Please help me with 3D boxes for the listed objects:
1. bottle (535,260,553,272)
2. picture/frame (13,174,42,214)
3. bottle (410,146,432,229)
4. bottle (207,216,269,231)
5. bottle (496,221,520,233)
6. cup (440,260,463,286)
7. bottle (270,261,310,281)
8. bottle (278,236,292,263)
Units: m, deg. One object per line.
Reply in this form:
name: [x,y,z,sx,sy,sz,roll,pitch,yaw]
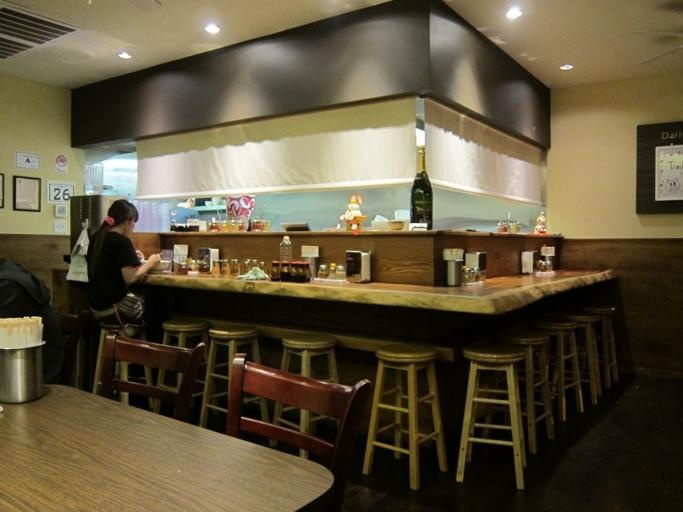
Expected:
bottle: [1.907,0.088,4.635,0.115,0.075,0.120,0,6,0]
picture/frame: [-3.754,-0.757,5.891,0.307,0.406,0.016,3,3,-5]
bottle: [0.601,-0.520,3.721,0.144,0.616,0.135,0,4,0]
bottle: [-0.924,-0.291,4.571,0.737,0.114,0.410,3,5,33]
bottle: [1.619,-0.285,4.819,0.199,0.129,0.203,0,4,0]
cup: [0.746,0.111,3.308,0.150,0.182,0.150,1,-3,0]
bottle: [-0.386,0.110,3.663,0.346,0.144,0.157,4,6,39]
bottle: [-0.450,-0.074,4.015,0.108,0.200,0.215,0,4,-8]
